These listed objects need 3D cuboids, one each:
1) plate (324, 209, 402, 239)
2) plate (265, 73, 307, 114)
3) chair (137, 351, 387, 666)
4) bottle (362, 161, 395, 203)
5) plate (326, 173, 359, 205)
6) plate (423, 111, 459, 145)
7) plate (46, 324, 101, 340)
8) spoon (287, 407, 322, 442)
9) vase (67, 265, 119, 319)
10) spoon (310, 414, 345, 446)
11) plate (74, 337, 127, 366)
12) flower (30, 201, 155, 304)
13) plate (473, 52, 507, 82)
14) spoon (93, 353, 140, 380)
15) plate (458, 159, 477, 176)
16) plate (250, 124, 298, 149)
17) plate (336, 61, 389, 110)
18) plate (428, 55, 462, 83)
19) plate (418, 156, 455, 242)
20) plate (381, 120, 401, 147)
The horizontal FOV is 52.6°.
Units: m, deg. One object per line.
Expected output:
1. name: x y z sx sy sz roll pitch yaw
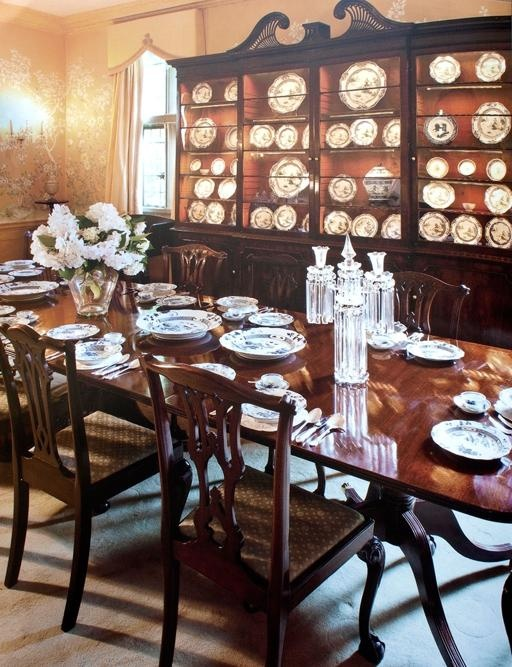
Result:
1. plate: 0.656 -0.686 3.283 0.654 0.207 0.029 7 11 40
2. plate: 0.223 -1.628 3.504 0.055 0.233 0.239 -8 -18 -47
3. chair: 0.018 0.420 1.130 0.381 0.796 0.465 9 13 36
4. bottle: 0.748 -0.921 3.183 0.244 0.233 0.144 7 12 30
5. plate: 0.548 -0.939 3.364 0.186 0.179 0.043 16 17 30
6. plate: 1.054 -1.171 2.968 0.160 0.200 0.075 3 14 29
7. plate: -0.644 -0.005 1.832 0.120 0.016 0.117 4 20 4
8. spoon: 0.106 0.193 1.114 0.029 0.019 0.153 4 24 26
9. vase: -0.695 -0.208 2.149 0.236 0.251 0.232 4 18 -7
10. spoon: 0.148 0.201 1.081 0.032 0.021 0.143 11 23 25
11. plate: -0.494 0.056 1.613 0.099 0.025 0.098 -15 28 -33
12. flower: -0.639 -0.257 2.127 0.447 0.424 0.383 -2 -10 7
13. plate: 1.240 -1.414 2.757 0.040 0.139 0.149 -22 31 -40
14. spoon: -0.391 0.085 1.475 0.063 0.019 0.129 14 16 15
15. plate: 1.207 -0.959 2.986 0.094 0.090 0.036 11 21 34
16. plate: 0.139 -1.370 3.603 0.439 0.193 0.036 10 16 29
17. plate: 0.642 -1.501 3.150 0.328 0.275 0.075 8 13 36
18. plate: 1.033 -1.464 2.864 0.156 0.149 0.026 13 31 28
19. plate: 1.044 -0.778 3.003 0.182 0.477 0.164 -8 14 -42
20. plate: 0.810 -1.204 3.118 0.021 0.144 0.150 -5 13 -41
